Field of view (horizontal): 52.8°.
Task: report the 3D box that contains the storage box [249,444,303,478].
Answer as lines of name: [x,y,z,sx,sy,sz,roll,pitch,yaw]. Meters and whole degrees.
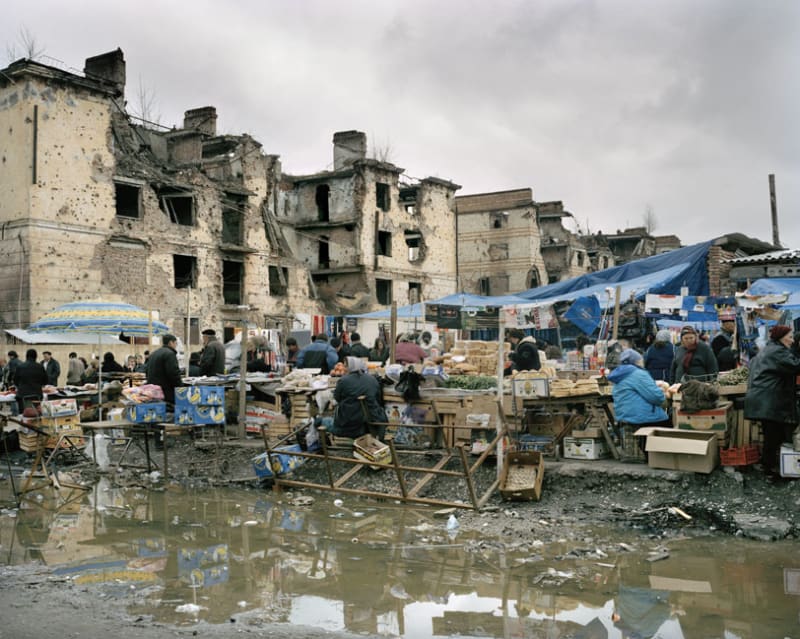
storage box: [-1.951,2.381,13.575,0.967,0.556,0.309,-8,26,39]

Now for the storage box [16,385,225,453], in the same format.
storage box: [-5.052,1.788,14.526,3.185,1.413,2.007,1,8,20]

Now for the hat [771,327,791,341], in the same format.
hat: [5.335,0.195,11.371,0.250,0.225,0.209,2,9,24]

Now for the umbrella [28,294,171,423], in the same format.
umbrella: [-6.345,0.359,17.164,2.918,1.623,2.440,1,9,-34]

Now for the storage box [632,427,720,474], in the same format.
storage box: [4.014,1.891,11.639,0.890,0.407,0.654,1,13,35]

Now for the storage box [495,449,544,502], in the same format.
storage box: [1.812,2.309,12.045,0.638,0.606,0.762,0,8,10]

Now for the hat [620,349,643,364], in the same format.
hat: [3.653,0.562,12.879,0.334,0.299,0.225,-14,36,23]

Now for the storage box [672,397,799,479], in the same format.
storage box: [4.666,1.656,11.697,1.126,0.639,1.109,-2,1,27]

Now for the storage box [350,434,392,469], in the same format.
storage box: [-0.444,2.172,13.366,0.648,0.190,0.486,9,11,44]
